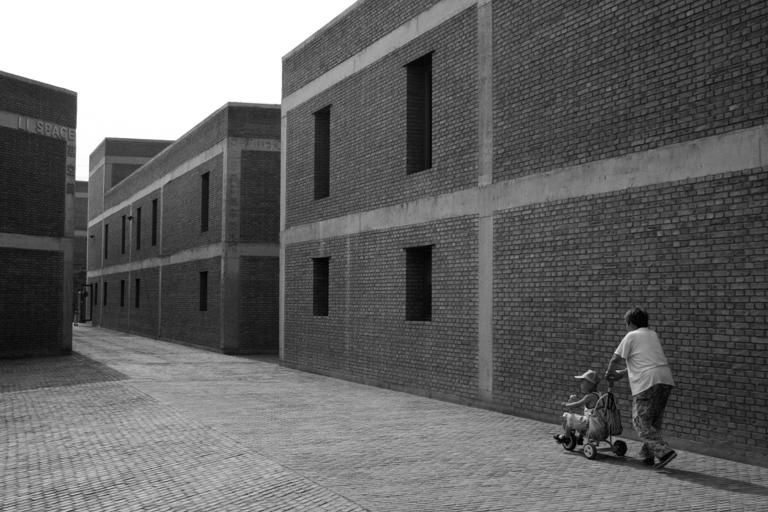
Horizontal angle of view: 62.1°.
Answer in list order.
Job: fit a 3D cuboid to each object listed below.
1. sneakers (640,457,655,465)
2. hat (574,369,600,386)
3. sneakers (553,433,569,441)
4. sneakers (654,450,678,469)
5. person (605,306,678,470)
[{"bbox_3d":[4.008,3.119,9.729,0.146,0.112,0.148,0,-3,40],"label":"sneakers"},{"bbox_3d":[3.193,1.895,10.197,0.427,0.221,0.279,12,-5,19],"label":"hat"},{"bbox_3d":[2.924,3.028,10.588,0.095,0.106,0.255,1,1,-30],"label":"sneakers"},{"bbox_3d":[4.184,3.010,9.533,0.300,0.290,0.343,-1,-2,22],"label":"sneakers"},{"bbox_3d":[3.920,1.984,9.722,0.880,2.347,0.468,-1,-2,21],"label":"person"}]
